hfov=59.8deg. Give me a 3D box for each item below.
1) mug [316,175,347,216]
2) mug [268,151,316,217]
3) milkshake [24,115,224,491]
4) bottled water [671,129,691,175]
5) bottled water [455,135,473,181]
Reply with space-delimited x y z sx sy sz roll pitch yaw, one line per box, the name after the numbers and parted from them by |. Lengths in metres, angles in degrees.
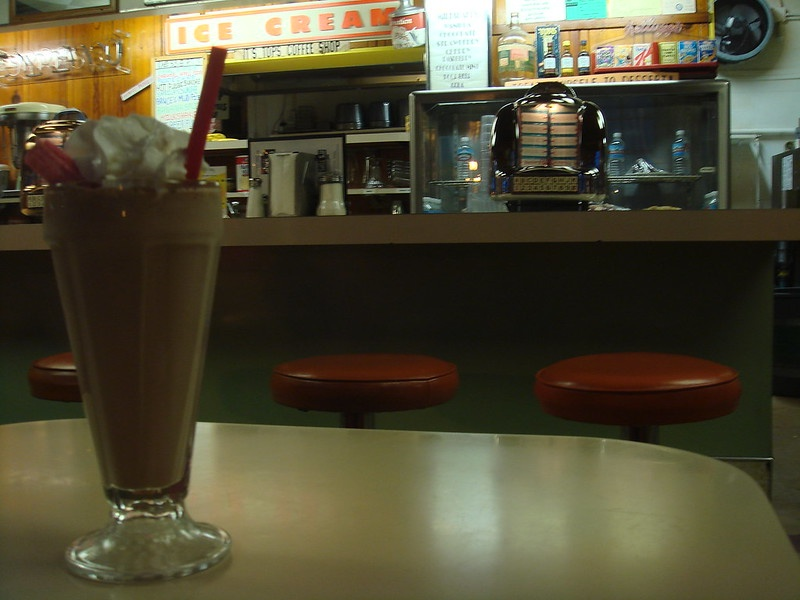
-0.250 -0.409 2.704 0.143 0.153 0.128 7 15 27 | mug
-0.441 -0.480 2.862 0.157 0.246 0.263 1 8 11 | mug
-0.198 0.004 0.530 0.128 0.286 0.052 -3 10 -13 | milkshake
1.667 -0.886 4.128 0.110 0.269 0.117 5 11 33 | bottled water
0.381 -0.845 4.100 0.106 0.251 0.074 0 9 4 | bottled water
